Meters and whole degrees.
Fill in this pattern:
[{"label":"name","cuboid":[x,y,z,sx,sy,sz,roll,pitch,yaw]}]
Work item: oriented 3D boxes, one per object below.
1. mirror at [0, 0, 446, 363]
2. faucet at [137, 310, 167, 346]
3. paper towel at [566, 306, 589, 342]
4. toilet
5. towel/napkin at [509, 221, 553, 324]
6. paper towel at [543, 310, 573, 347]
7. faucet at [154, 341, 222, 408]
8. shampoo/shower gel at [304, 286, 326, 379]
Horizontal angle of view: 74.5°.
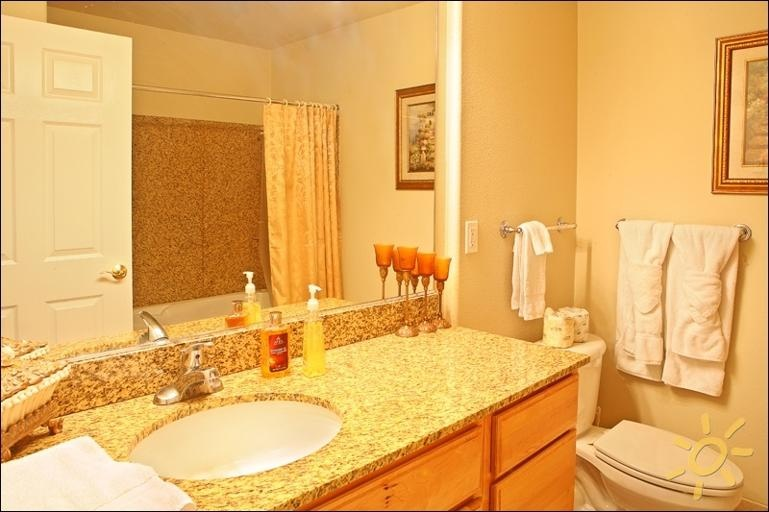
[{"label":"mirror","cuboid":[-0.527,-0.234,1.576,1.369,0.903,0.100,-2,3,-38]},{"label":"faucet","cuboid":[-0.694,0.219,1.513,0.088,0.087,0.077,0,4,-23]},{"label":"paper towel","cuboid":[0.944,0.345,2.494,0.129,0.135,0.121,-3,1,-1]},{"label":"toilet","cuboid":[1.159,0.778,2.429,0.455,0.819,0.943,-2,-3,-43]},{"label":"towel/napkin","cuboid":[0.685,0.065,2.360,0.188,0.450,0.099,-2,9,8]},{"label":"paper towel","cuboid":[0.841,0.343,2.450,0.143,0.155,0.146,-4,4,28]},{"label":"faucet","cuboid":[-0.577,0.341,1.517,0.102,0.161,0.229,14,9,37]},{"label":"shampoo/shower gel","cuboid":[-0.241,0.232,1.718,0.072,0.279,0.239,-4,9,-6]}]
